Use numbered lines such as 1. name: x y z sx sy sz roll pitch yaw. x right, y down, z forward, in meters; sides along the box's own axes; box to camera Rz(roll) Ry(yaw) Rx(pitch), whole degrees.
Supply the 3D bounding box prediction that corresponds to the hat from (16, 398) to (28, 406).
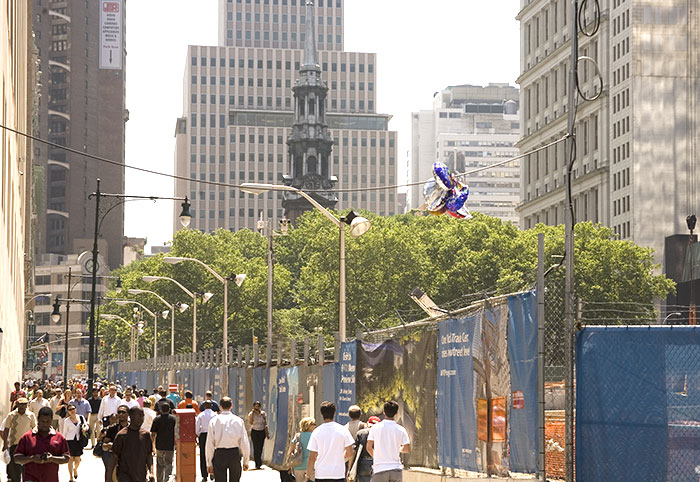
1. hat: -24.310 11.674 131.346 0.695 0.495 1.038 2 -11 -16
